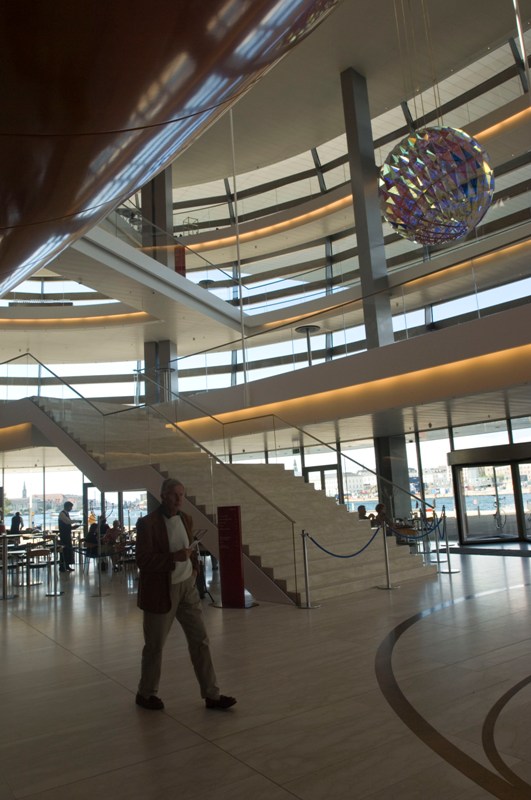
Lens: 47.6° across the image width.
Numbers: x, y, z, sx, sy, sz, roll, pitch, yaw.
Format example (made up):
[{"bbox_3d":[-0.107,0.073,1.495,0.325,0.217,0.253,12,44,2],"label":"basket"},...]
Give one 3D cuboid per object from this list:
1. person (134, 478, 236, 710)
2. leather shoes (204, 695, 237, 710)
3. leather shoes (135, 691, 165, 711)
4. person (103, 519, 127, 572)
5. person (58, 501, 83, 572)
[{"bbox_3d":[-0.651,1.397,4.319,0.685,1.608,0.382,-5,-8,-6],"label":"person"},{"bbox_3d":[-0.309,2.124,4.192,0.177,0.084,0.089,-1,-9,-1],"label":"leather shoes"},{"bbox_3d":[-0.831,2.156,4.288,0.182,0.081,0.097,-8,-11,36],"label":"leather shoes"},{"bbox_3d":[-3.282,3.156,13.135,0.395,1.088,0.353,2,13,-13],"label":"person"},{"bbox_3d":[-3.997,2.770,12.120,0.264,1.399,0.495,-6,-8,2],"label":"person"}]
